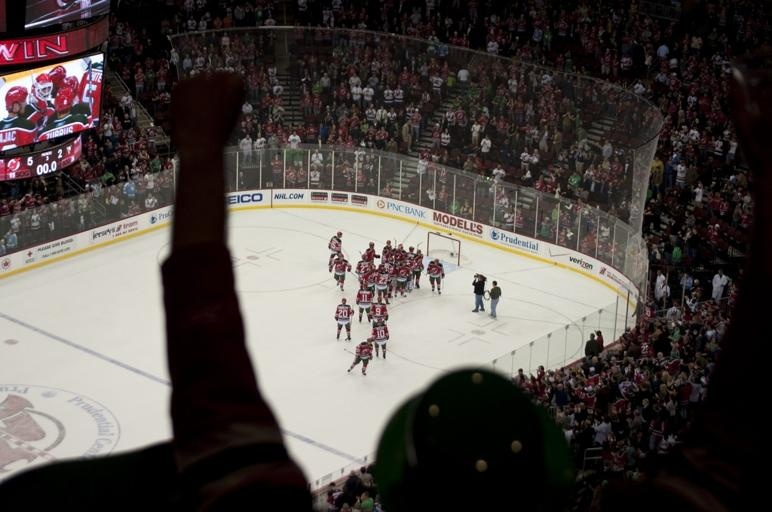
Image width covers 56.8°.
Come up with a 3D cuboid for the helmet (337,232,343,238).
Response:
[{"bbox_3d":[-1.903,-0.840,28.879,0.164,0.204,0.270,-18,-6,-7],"label":"helmet"}]

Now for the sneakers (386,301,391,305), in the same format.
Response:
[{"bbox_3d":[0.065,1.744,26.391,0.151,0.150,0.075,2,5,-2],"label":"sneakers"}]
